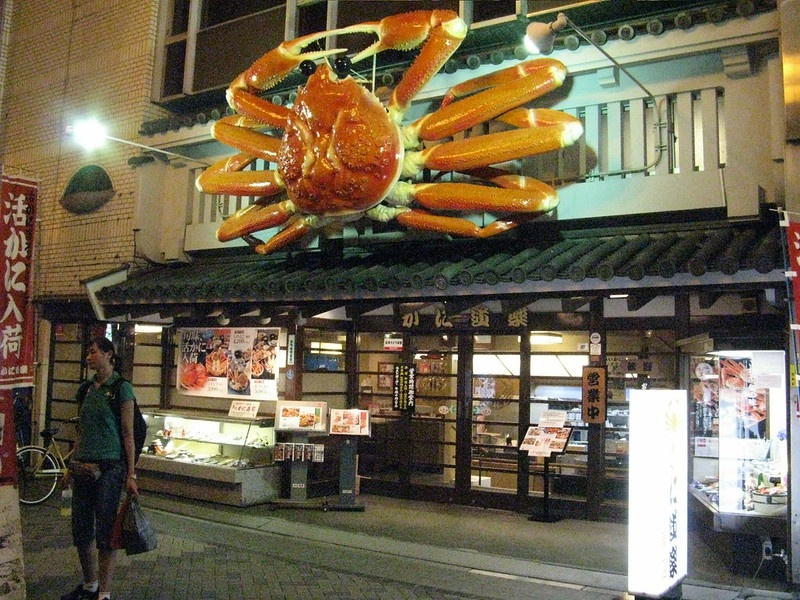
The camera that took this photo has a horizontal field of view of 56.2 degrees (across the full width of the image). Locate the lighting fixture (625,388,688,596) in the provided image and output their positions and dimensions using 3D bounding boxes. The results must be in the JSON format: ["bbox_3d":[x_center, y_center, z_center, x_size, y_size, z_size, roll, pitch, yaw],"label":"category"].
[{"bbox_3d":[2.977,2.202,8.556,0.935,2.382,0.366,0,1,-35],"label":"lighting fixture"}]

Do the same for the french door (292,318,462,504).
[{"bbox_3d":[-0.376,2.052,13.439,3.099,2.998,1.046,1,2,28],"label":"french door"}]

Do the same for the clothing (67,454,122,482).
[{"bbox_3d":[-3.499,1.907,8.506,0.322,0.142,0.320,0,1,-44],"label":"clothing"}]

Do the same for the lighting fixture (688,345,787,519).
[{"bbox_3d":[4.457,1.716,10.026,0.590,1.516,1.751,1,1,-11],"label":"lighting fixture"}]

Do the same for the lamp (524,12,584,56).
[{"bbox_3d":[2.037,-3.644,10.330,0.748,0.630,0.755,-5,4,-12],"label":"lamp"}]

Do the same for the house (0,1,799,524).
[{"bbox_3d":[0.301,-0.411,11.791,9.206,5.606,6.625,-1,0,32],"label":"house"}]

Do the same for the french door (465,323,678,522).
[{"bbox_3d":[2.741,1.933,11.668,2.988,2.694,0.224,3,2,10],"label":"french door"}]

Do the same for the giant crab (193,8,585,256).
[{"bbox_3d":[-0.579,-2.349,11.617,6.554,2.415,3.010,-5,-32,24],"label":"giant crab"}]

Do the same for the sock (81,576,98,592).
[{"bbox_3d":[-3.530,3.258,8.552,0.101,0.174,0.170,-4,-19,23],"label":"sock"}]
